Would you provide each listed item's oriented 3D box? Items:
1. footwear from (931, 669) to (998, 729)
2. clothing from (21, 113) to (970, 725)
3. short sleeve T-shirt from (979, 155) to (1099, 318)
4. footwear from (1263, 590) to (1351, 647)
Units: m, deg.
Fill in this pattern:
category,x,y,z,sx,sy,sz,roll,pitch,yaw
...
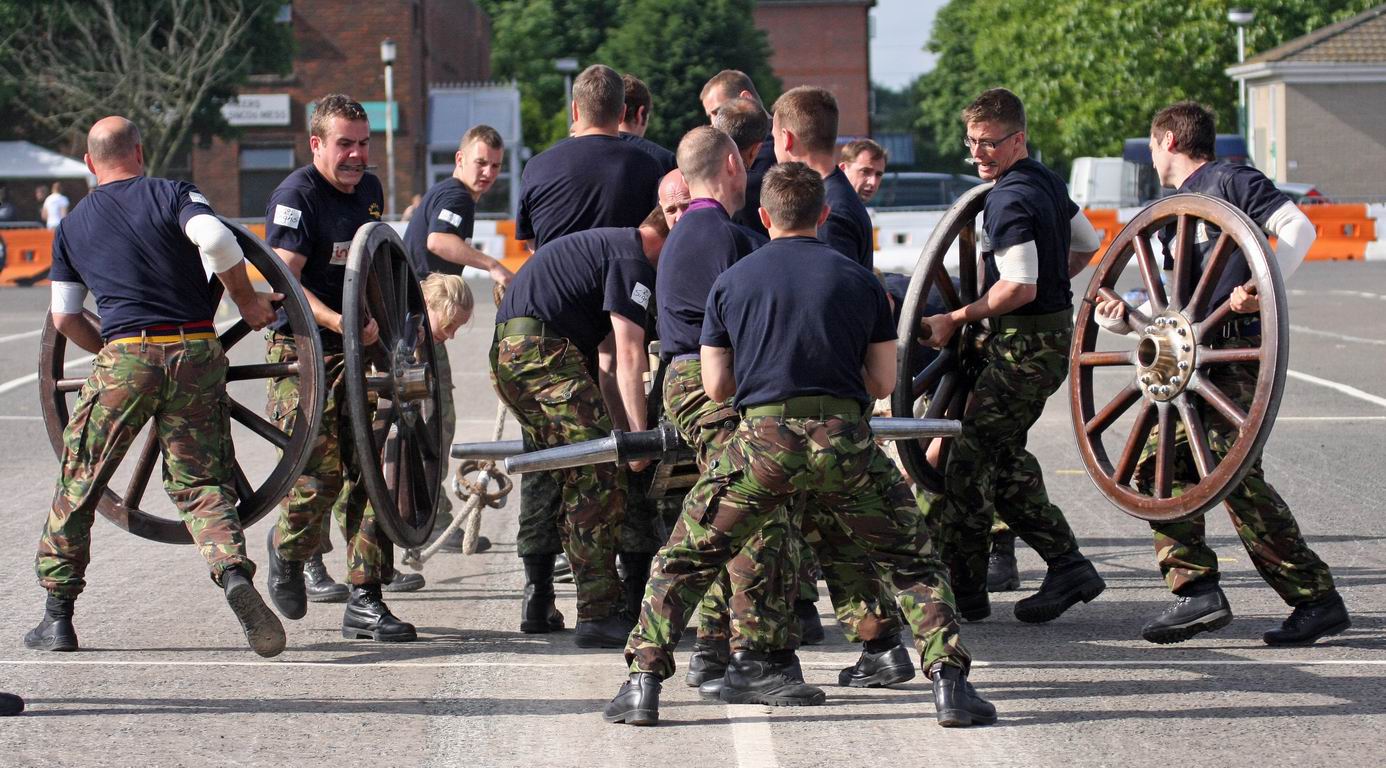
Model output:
category,x,y,z,sx,sy,sz,roll,pitch,yaw
footwear,2.126,2.454,16.489,0.529,0.520,0.255,1,16,6
clothing,-1.988,-0.032,17.939,6.959,2.654,4.565,0,0,-10
short sleeve T-shirt,2.851,-1.301,18.064,0.844,1.382,1.556,4,10,36
footwear,5.124,1.960,17.465,0.865,0.518,0.320,-3,8,4
